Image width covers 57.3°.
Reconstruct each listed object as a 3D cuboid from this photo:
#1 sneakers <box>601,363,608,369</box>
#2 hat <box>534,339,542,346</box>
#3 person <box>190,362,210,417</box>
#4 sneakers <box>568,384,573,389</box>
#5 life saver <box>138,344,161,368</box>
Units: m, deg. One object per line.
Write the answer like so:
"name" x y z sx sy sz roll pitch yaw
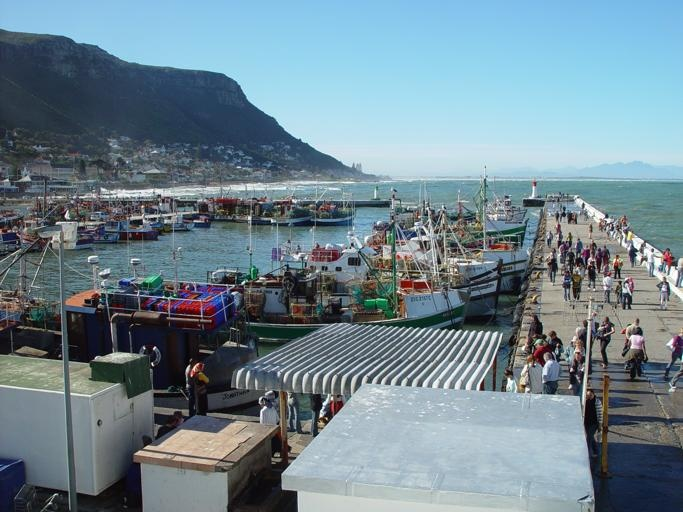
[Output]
"sneakers" 7.706 3.223 18.258 0.130 0.186 0.061 10 -18 28
"hat" 5.339 2.351 16.858 0.169 0.123 0.235 -5 9 -18
"person" -3.442 3.266 15.181 0.382 1.196 0.867 -1 9 -13
"sneakers" 5.952 3.381 16.192 0.115 0.084 0.276 -4 -23 11
"life saver" -5.586 2.980 18.338 0.527 0.803 0.746 -1 9 -11
